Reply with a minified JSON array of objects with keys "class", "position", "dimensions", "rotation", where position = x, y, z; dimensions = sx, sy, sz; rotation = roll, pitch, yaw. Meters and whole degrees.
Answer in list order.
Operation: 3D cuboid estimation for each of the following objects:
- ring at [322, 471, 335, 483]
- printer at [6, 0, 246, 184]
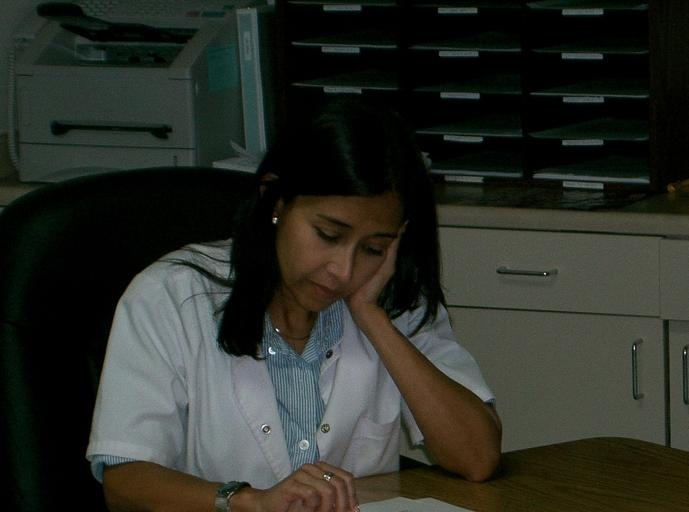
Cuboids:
[{"class":"ring","position":[-0.026,0.340,1.105],"dimensions":[0.012,0.004,0.013],"rotation":[-2,17,0]},{"class":"printer","position":[-0.683,-0.497,2.465],"dimensions":[0.619,0.556,0.696],"rotation":[-1,6,11]}]
